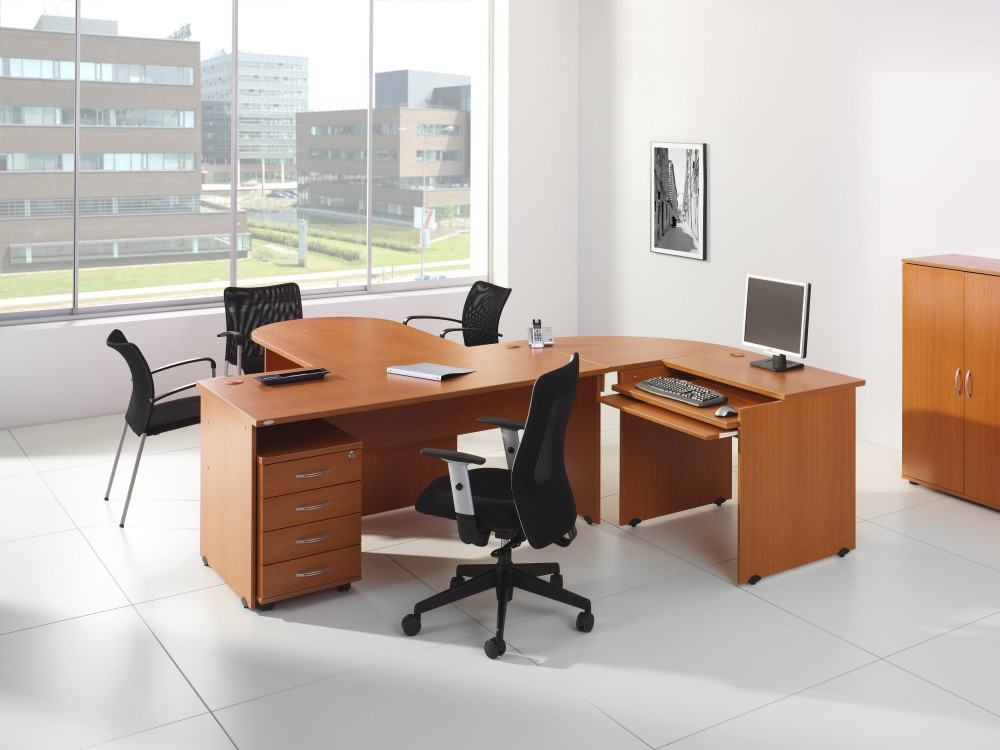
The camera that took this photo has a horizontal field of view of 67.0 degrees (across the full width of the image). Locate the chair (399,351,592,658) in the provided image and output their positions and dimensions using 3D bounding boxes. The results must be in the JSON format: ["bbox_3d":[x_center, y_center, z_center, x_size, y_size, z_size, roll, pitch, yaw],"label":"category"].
[{"bbox_3d":[-0.005,0.501,4.060,1.100,1.672,1.307,5,9,18],"label":"chair"}]

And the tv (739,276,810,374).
[{"bbox_3d":[1.500,-0.319,4.081,0.110,0.400,0.432,-5,16,-18],"label":"tv"}]

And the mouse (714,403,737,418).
[{"bbox_3d":[1.157,0.188,3.871,0.136,0.034,0.089,-13,20,-39],"label":"mouse"}]

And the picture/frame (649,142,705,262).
[{"bbox_3d":[1.698,-1.643,7.045,0.155,1.035,0.738,-7,16,-25],"label":"picture/frame"}]

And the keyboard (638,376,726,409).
[{"bbox_3d":[0.988,0.085,4.087,0.190,0.070,0.324,-7,14,-32],"label":"keyboard"}]
